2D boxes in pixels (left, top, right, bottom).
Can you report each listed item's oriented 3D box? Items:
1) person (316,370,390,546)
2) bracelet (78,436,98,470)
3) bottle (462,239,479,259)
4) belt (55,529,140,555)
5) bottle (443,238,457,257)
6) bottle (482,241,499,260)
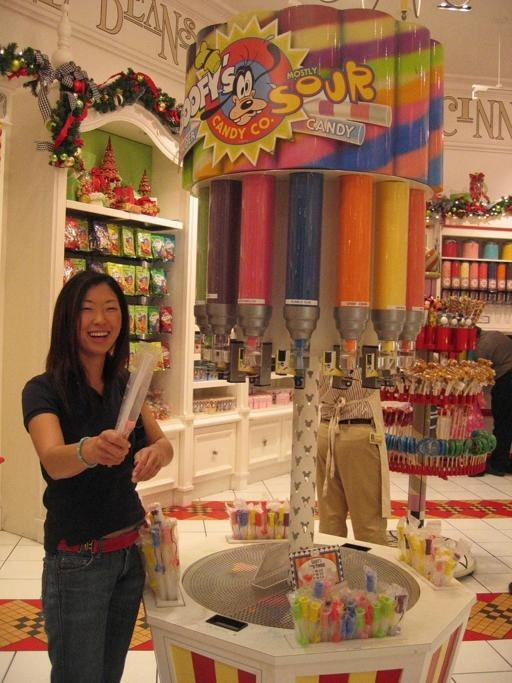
[{"bbox_3d":[0.455,0.550,2.625,0.384,0.730,0.359,3,-1,16],"label":"person"},{"bbox_3d":[-0.338,0.216,1.064,0.024,0.064,0.057,-1,9,5],"label":"bracelet"},{"bbox_3d":[2.630,-1.124,6.703,0.215,0.227,0.211,4,-4,-19],"label":"bottle"},{"bbox_3d":[-0.380,0.465,1.278,0.103,0.025,0.100,-5,-5,4],"label":"belt"},{"bbox_3d":[2.402,-1.158,6.788,0.180,0.219,0.418,3,0,19],"label":"bottle"},{"bbox_3d":[2.890,-1.120,6.748,0.221,0.239,0.219,-1,-4,24],"label":"bottle"}]
